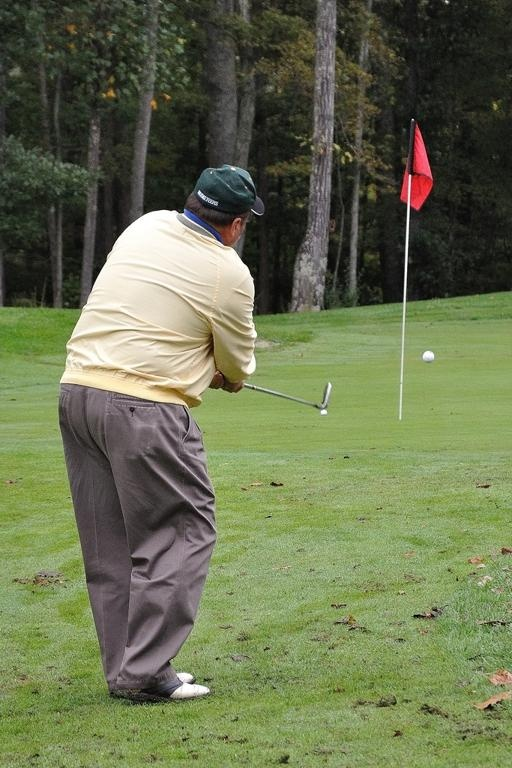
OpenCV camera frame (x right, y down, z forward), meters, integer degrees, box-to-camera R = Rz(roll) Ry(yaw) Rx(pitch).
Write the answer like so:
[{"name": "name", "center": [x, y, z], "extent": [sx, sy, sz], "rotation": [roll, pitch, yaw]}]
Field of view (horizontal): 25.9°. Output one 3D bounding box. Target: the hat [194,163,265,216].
[{"name": "hat", "center": [-0.073, -0.611, 3.541], "extent": [0.152, 0.113, 0.213], "rotation": [28, 31, 23]}]

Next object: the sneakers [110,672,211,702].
[{"name": "sneakers", "center": [-0.270, 0.923, 3.344], "extent": [0.175, 0.061, 0.125], "rotation": [-5, -5, -3]}]
